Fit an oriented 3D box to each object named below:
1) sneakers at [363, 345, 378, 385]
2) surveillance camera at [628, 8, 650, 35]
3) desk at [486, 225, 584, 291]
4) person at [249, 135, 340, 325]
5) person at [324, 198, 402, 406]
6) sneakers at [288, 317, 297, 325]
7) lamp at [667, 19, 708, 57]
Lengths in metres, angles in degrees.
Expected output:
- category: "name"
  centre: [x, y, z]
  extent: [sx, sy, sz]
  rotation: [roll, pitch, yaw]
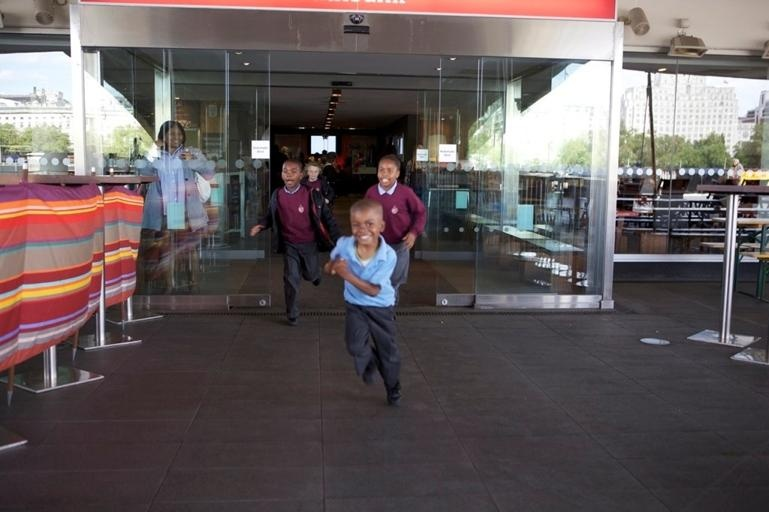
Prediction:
- category: "sneakers"
  centre: [-0.144, 0.940, 4.857]
  extent: [0.199, 0.268, 0.079]
  rotation: [-2, -1, -30]
- category: "surveillance camera"
  centre: [3.976, -3.686, 8.835]
  extent: [0.296, 0.409, 0.347]
  rotation: [1, 10, -2]
- category: "desk"
  centre: [2.121, 0.100, 8.399]
  extent: [1.087, 1.036, 0.356]
  rotation: [-13, 1, 3]
- category: "person"
  centre: [-1.082, -0.172, 7.150]
  extent: [0.999, 2.045, 0.591]
  rotation: [3, 9, 12]
- category: "person"
  centre: [-0.145, 0.410, 4.671]
  extent: [0.711, 1.740, 0.405]
  rotation: [-3, 10, -21]
- category: "sneakers"
  centre: [-1.155, 0.800, 7.099]
  extent: [0.110, 0.100, 0.161]
  rotation: [-1, 11, -8]
- category: "lamp"
  centre: [5.072, -3.673, 9.517]
  extent: [0.611, 0.570, 0.323]
  rotation: [0, -8, 2]
